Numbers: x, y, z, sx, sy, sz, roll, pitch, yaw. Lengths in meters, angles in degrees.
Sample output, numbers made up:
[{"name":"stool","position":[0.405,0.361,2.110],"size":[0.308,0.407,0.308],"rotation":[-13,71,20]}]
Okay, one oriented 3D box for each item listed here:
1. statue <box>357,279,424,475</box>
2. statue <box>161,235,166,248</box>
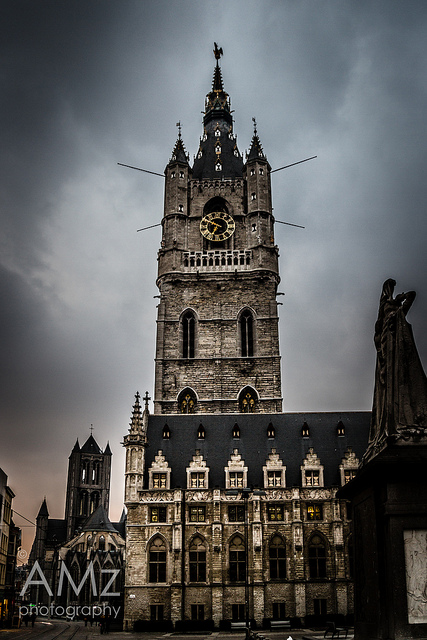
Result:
[{"name":"statue","position":[4.558,1.243,18.302],"size":[1.413,5.104,2.136],"rotation":[3,-22,-5]},{"name":"statue","position":[-5.022,-8.038,72.442],"size":[0.322,1.887,0.859],"rotation":[8,-23,-17]}]
